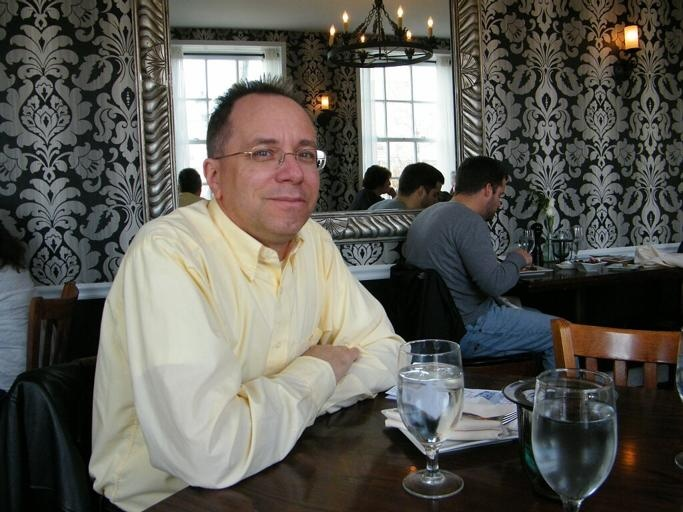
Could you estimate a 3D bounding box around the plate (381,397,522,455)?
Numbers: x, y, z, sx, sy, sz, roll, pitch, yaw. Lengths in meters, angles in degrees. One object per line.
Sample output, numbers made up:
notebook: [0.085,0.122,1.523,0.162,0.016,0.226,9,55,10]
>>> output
plate: [0.269,0.349,1.226,0.211,0.027,0.247,-5,11,8]

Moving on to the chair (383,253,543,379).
chair: [0.547,0.207,2.862,0.572,0.849,0.539,-2,1,-19]

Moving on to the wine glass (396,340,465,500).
wine glass: [0.167,0.304,1.057,0.122,0.241,0.135,-1,14,1]

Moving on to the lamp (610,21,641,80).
lamp: [1.927,-1.358,3.776,0.260,0.379,0.145,-8,15,-26]
